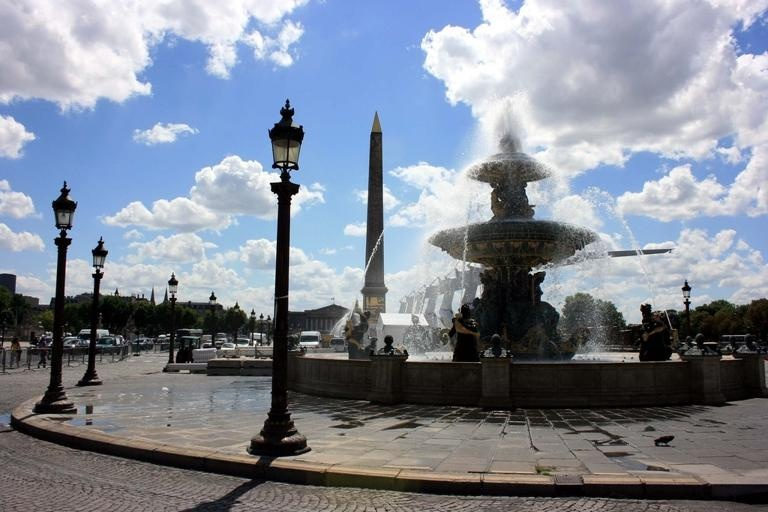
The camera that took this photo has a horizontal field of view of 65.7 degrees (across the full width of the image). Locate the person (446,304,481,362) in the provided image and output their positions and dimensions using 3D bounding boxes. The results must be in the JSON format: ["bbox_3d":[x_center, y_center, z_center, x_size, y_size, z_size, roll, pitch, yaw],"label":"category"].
[{"bbox_3d":[2.428,2.288,17.926,0.846,1.753,1.244,-2,-11,6],"label":"person"}]

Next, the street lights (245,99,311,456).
[{"bbox_3d":[-2.078,0.280,12.146,1.007,7.230,0.983,2,-12,-12],"label":"street lights"}]

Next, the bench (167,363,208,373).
[{"bbox_3d":[-9.972,5.605,29.984,2.544,0.532,1.208,-7,-12,26],"label":"bench"}]

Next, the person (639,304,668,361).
[{"bbox_3d":[8.402,2.337,18.571,0.861,1.757,0.873,-6,-12,23],"label":"person"}]
